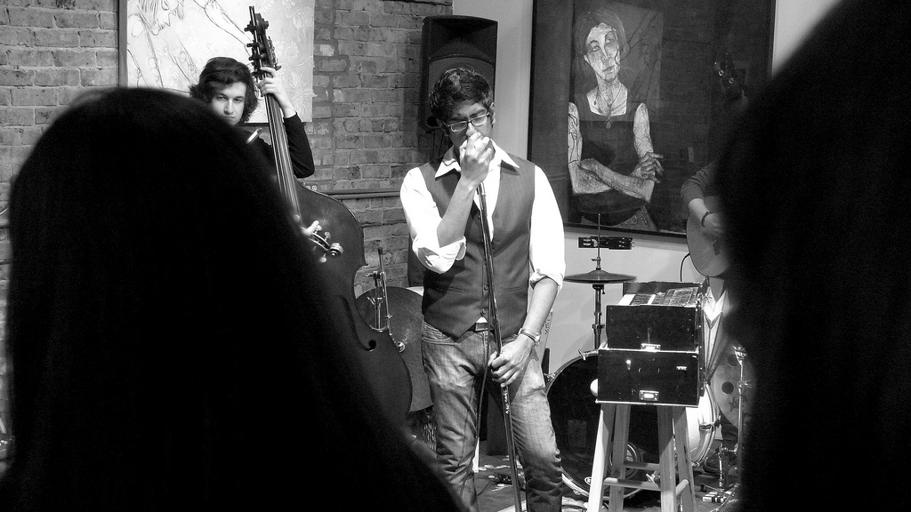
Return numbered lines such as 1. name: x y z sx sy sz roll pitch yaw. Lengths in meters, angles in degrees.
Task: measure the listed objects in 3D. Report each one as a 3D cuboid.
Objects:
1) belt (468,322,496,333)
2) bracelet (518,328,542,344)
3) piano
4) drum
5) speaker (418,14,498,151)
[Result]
1. belt: 0.092 0.242 2.655 0.077 0.038 0.030 5 8 36
2. bracelet: 0.253 0.271 2.650 0.065 0.037 0.049 19 -4 13
3. piano: 0.772 0.225 2.982 0.356 0.190 0.508 1 8 18
4. drum: 1.005 0.870 4.293 0.692 0.692 0.695 8 25 3
5. speaker: 0.020 -1.124 4.949 0.440 0.719 0.289 3 -5 -7
